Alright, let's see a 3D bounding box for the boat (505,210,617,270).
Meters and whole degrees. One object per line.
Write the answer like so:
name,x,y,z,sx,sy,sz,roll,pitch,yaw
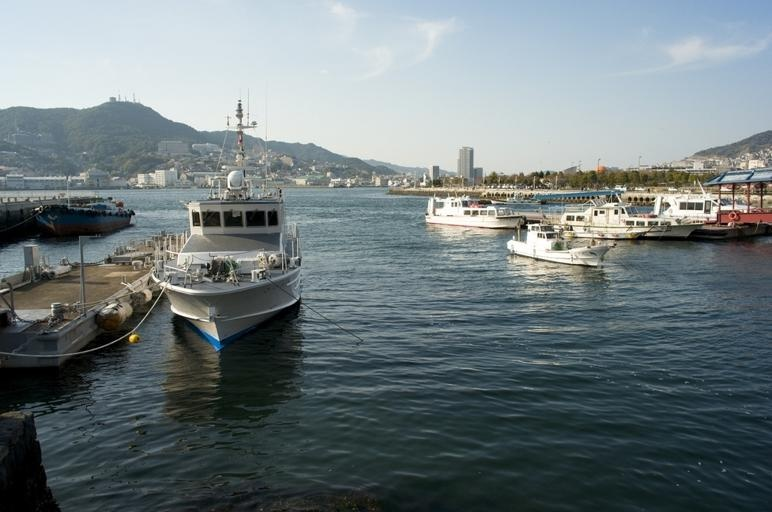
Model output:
boat,13.763,-0.868,53.138,4.824,2.532,11.462,-7,8,-37
